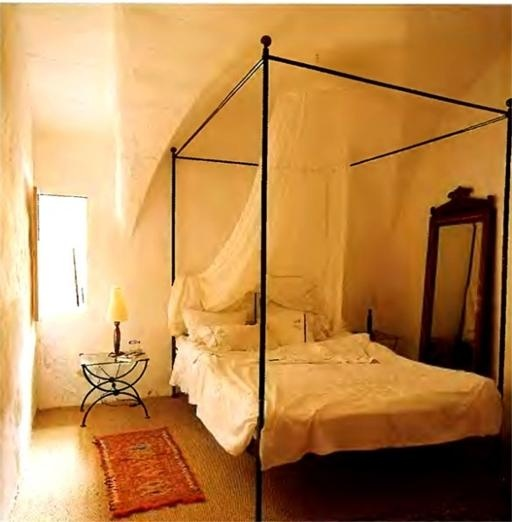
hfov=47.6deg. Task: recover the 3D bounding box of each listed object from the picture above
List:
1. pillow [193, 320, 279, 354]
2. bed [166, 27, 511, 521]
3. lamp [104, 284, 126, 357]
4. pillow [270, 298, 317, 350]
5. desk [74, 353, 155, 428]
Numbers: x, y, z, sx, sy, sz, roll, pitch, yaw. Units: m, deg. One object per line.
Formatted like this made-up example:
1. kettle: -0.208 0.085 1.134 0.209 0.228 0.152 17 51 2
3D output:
1. pillow: -0.176 0.531 4.019 0.336 0.147 0.214 16 -7 -21
2. bed: 0.531 -0.127 3.857 1.948 2.468 2.334 -3 8 -21
3. lamp: -0.989 0.437 4.173 0.122 0.524 0.339 -2 7 -14
4. pillow: 0.239 0.467 4.180 0.223 0.294 0.071 4 -25 -9
5. desk: -1.015 0.894 4.144 0.399 0.491 0.350 1 8 -17
